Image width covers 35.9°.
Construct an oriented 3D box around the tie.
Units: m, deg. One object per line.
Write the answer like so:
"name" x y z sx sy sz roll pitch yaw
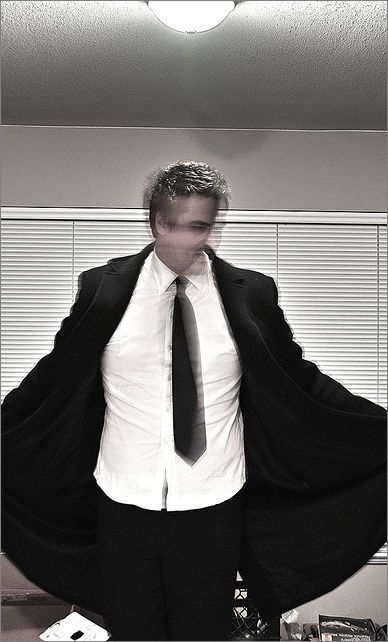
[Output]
"tie" -0.025 0.117 1.430 0.077 0.448 0.066 0 -2 -41
